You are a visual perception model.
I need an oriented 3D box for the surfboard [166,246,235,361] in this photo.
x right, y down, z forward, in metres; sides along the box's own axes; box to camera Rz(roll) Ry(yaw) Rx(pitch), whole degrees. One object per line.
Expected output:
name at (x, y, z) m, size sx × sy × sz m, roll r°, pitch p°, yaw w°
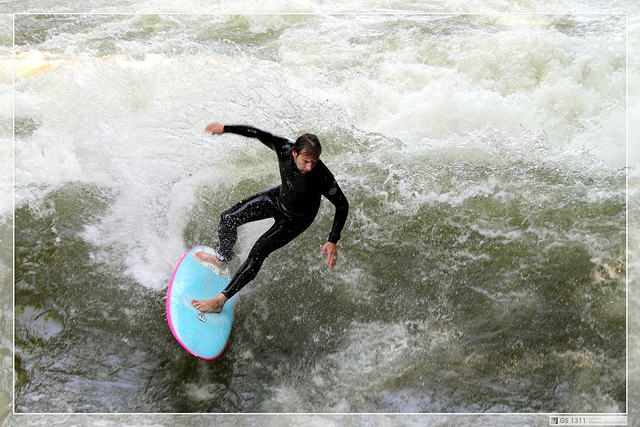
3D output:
surfboard at (-1.256, 0.937, 6.282) m, size 0.735 × 0.271 × 1.586 m, roll 24°, pitch 21°, yaw -18°

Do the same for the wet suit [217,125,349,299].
wet suit at (-0.389, -0.022, 6.003) m, size 1.209 × 1.323 × 1.044 m, roll -1°, pitch 42°, yaw -10°
